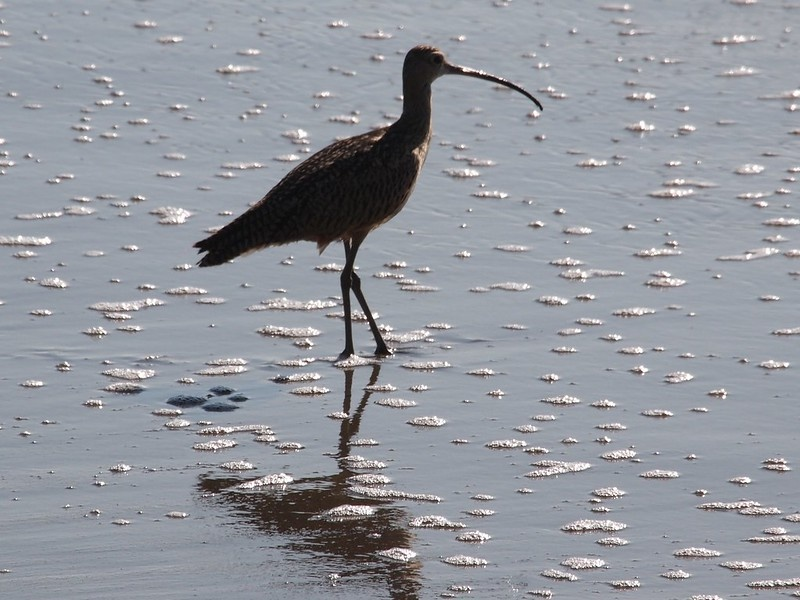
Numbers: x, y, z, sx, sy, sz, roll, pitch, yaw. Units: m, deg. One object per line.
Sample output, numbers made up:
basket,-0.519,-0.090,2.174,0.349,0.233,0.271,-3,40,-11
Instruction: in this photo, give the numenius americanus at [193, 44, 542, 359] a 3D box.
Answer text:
numenius americanus,-0.311,-0.852,9.393,1.160,2.145,1.414,24,13,14
